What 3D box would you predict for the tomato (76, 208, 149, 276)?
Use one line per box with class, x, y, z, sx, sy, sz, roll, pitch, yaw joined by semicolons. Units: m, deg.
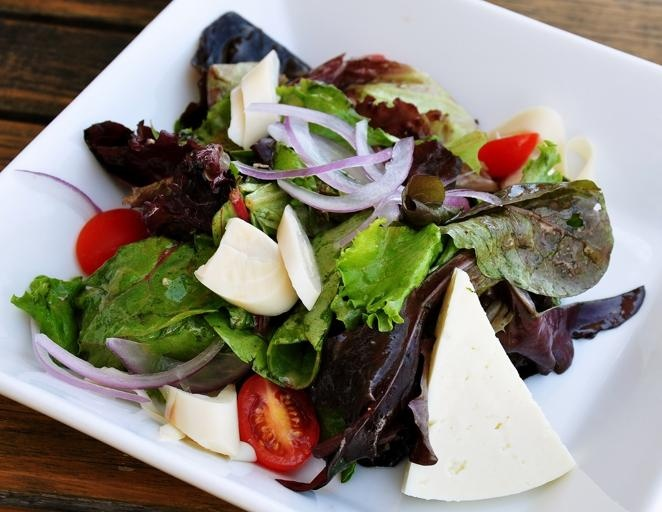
tomato;-0.658;-0.056;2.008;0.217;0.086;0.152;-22;63;-22
